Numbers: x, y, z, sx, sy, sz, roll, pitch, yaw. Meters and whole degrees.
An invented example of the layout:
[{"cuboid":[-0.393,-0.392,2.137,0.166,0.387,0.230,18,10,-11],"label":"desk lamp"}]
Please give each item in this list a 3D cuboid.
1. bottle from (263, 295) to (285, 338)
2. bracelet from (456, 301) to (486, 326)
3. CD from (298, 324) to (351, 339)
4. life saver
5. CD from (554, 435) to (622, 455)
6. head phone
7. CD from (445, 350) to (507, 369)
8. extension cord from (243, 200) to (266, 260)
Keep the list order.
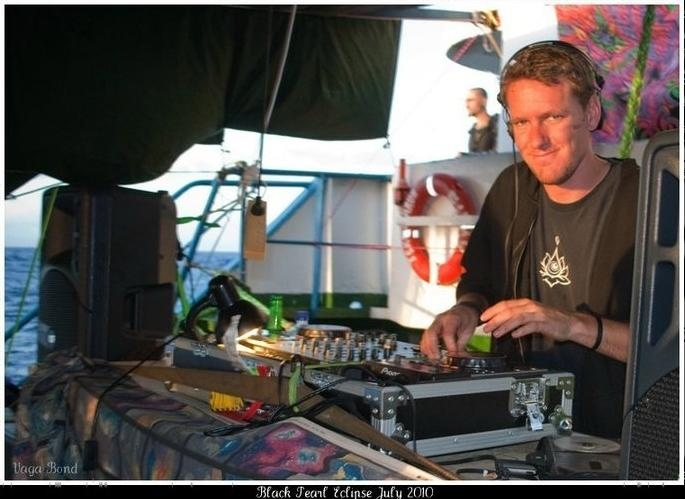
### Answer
[{"cuboid":[-0.243,0.231,2.430,0.062,0.137,0.167,2,-4,-6],"label":"bottle"},{"cuboid":[0.490,0.227,2.538,0.092,0.068,0.096,3,7,33],"label":"bracelet"},{"cuboid":[-0.064,0.278,2.310,0.156,0.042,0.189,2,-4,-18],"label":"CD"},{"cuboid":[0.476,-0.122,3.376,0.268,0.592,0.302,0,1,-39],"label":"life saver"},{"cuboid":[0.690,0.537,1.914,0.169,0.017,0.289,-1,-4,19],"label":"CD"},{"cuboid":[0.831,-0.619,2.654,0.471,0.516,0.196,2,9,14],"label":"head phone"},{"cuboid":[0.405,0.332,2.020,0.187,0.040,0.095,1,-4,0],"label":"CD"},{"cuboid":[-0.289,-0.074,2.408,0.084,0.220,0.146,4,3,9],"label":"extension cord"}]
